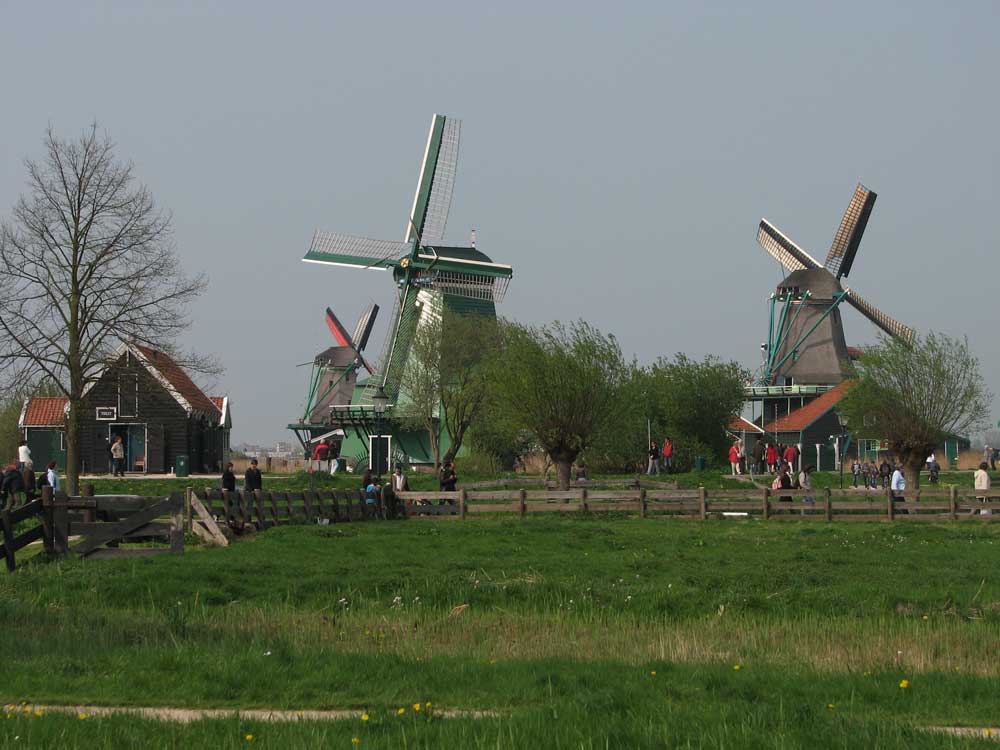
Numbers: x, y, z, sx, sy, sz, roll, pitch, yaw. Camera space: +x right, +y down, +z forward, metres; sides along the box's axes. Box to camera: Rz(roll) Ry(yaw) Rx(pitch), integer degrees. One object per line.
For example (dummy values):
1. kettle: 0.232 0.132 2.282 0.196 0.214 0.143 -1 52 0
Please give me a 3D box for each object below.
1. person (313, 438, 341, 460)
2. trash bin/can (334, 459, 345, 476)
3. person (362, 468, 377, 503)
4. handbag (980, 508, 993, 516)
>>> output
1. person: -9.776 4.129 102.234 1.477 0.719 1.776 -4 1 -8
2. trash bin/can: -7.654 4.319 86.208 0.434 0.803 0.804 -2 -8 22
3. person: -4.060 3.429 56.129 0.434 1.067 1.381 0 -6 -5
4. handbag: 14.471 4.078 54.315 0.362 0.244 0.284 -5 -7 38
